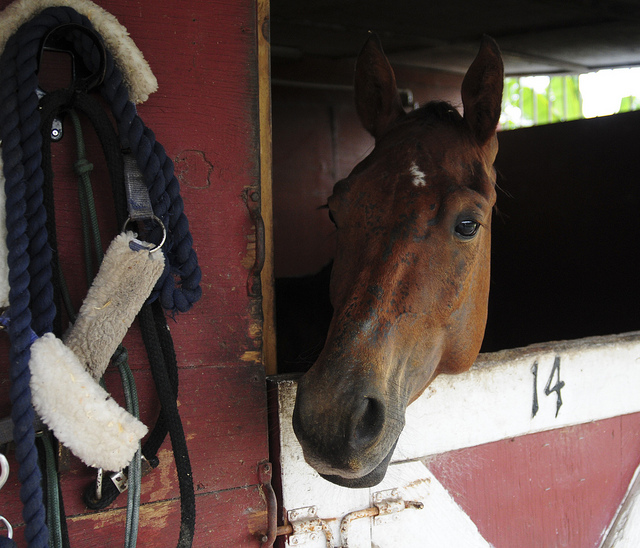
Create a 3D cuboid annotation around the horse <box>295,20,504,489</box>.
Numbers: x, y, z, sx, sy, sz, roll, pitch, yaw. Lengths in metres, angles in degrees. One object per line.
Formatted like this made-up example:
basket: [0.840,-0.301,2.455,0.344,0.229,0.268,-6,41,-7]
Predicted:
horse: [0.226,-0.057,2.455,0.447,1.159,0.587,6,9,9]
